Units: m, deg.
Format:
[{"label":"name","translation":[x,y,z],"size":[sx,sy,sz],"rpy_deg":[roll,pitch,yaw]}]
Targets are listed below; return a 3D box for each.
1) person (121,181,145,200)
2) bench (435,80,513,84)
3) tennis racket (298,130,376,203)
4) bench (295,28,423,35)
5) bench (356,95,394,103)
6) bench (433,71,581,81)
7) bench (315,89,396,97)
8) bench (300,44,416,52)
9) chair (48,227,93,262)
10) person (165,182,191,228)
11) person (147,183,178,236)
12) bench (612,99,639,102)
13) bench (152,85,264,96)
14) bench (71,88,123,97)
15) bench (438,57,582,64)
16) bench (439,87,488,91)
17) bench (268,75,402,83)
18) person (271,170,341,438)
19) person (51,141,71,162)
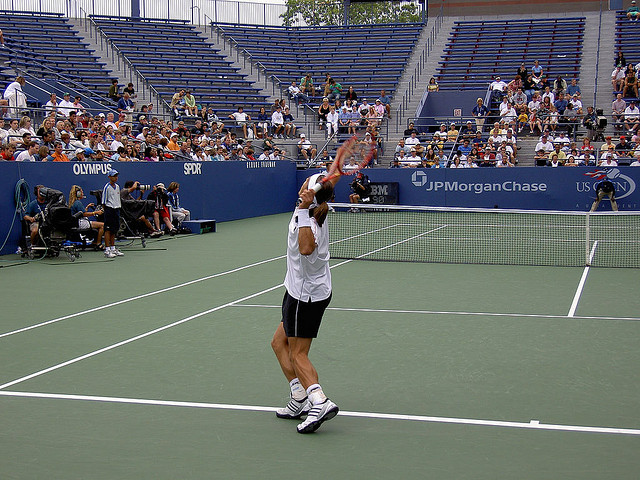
[{"label":"person","translation":[-5.205,-1.386,19.828],"size":[0.537,0.490,0.777],"rpy_deg":[3,1,-14]},{"label":"bench","translation":[7.435,-7.825,35.066],"size":[3.361,0.196,0.738],"rpy_deg":[4,9,21]},{"label":"tennis racket","translation":[0.253,-0.827,6.937],"size":[1.141,0.417,0.057],"rpy_deg":[-47,36,-15]},{"label":"bench","translation":[2.208,-12.349,41.880],"size":[7.227,0.300,0.861],"rpy_deg":[2,9,11]},{"label":"bench","translation":[2.735,-7.134,35.586],"size":[1.841,0.334,1.510],"rpy_deg":[2,9,9]},{"label":"bench","translation":[9.064,-8.157,35.193],"size":[6.884,0.393,0.863],"rpy_deg":[3,9,15]},{"label":"bench","translation":[1.869,-7.553,36.457],"size":[3.974,0.437,1.083],"rpy_deg":[0,9,2]},{"label":"bench","translation":[2.323,-10.947,40.334],"size":[6.197,0.331,0.677],"rpy_deg":[2,9,14]},{"label":"chair","translation":[-6.041,0.023,17.039],"size":[0.889,0.805,1.729],"rpy_deg":[-3,9,-22]},{"label":"person","translation":[-4.374,-0.973,22.134],"size":[0.819,1.609,0.561],"rpy_deg":[1,8,-4]},{"label":"person","translation":[-4.695,-0.890,21.140],"size":[0.619,1.584,1.076],"rpy_deg":[1,9,8]},{"label":"bench","translation":[13.301,-6.121,31.065],"size":[1.045,0.132,0.821],"rpy_deg":[6,10,32]},{"label":"bench","translation":[-5.498,-7.479,35.181],"size":[5.394,0.377,0.787],"rpy_deg":[-4,10,-25]},{"label":"bench","translation":[-9.720,-6.374,30.594],"size":[0.900,0.246,2.246],"rpy_deg":[1,9,7]},{"label":"bench","translation":[9.683,-9.227,36.409],"size":[6.833,0.304,0.915],"rpy_deg":[3,9,18]},{"label":"bench","translation":[6.900,-7.344,34.447],"size":[2.339,0.211,0.871],"rpy_deg":[3,9,19]},{"label":"bench","translation":[0.885,-8.567,37.700],"size":[6.709,0.421,1.382],"rpy_deg":[1,9,2]},{"label":"person","translation":[-0.145,0.601,7.419],"size":[0.699,2.593,1.285],"rpy_deg":[0,9,0]},{"label":"person","translation":[-6.890,-2.363,18.946],"size":[0.405,0.487,0.749],"rpy_deg":[-3,9,-19]}]
